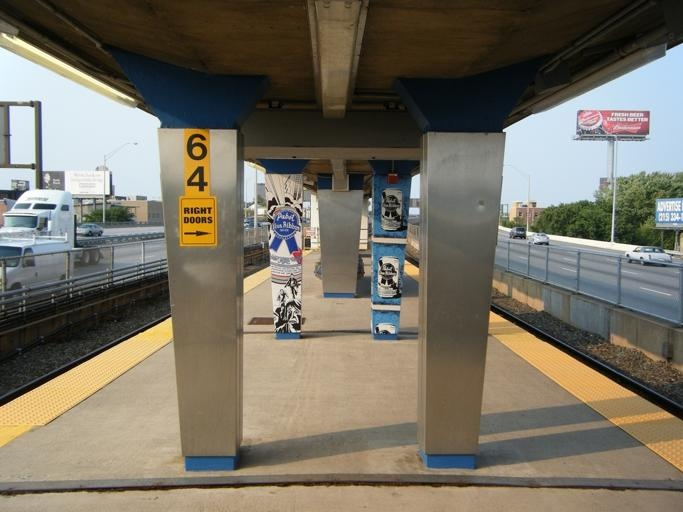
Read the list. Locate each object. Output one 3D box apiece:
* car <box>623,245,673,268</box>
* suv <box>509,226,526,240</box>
[{"bbox_3d":[16.177,0.007,24.655,1.318,0.912,2.729,2,6,11],"label":"car"},{"bbox_3d":[19.844,-2.460,52.509,1.602,1.357,3.383,1,7,8],"label":"suv"}]
